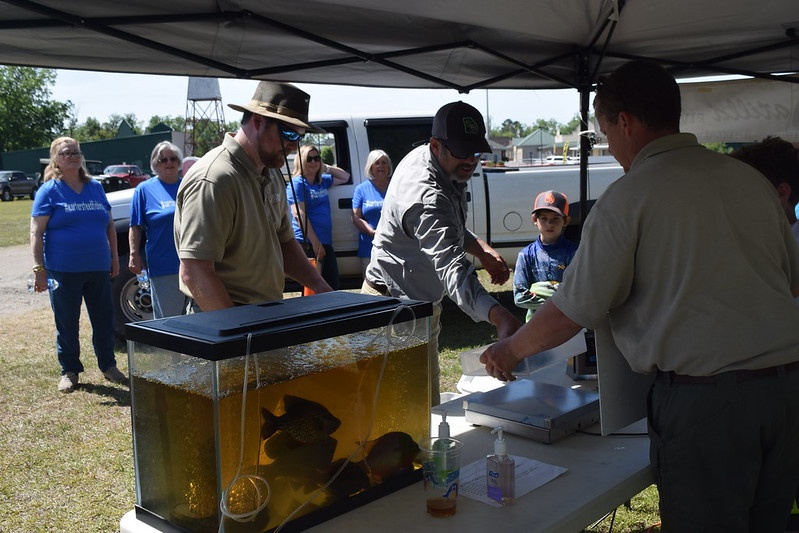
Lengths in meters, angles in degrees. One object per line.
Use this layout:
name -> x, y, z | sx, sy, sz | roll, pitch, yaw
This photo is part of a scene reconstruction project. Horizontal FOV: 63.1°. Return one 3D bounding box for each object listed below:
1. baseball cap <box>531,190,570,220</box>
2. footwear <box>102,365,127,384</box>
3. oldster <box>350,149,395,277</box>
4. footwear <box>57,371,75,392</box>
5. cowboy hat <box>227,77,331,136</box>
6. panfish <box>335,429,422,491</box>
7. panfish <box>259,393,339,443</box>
baseball cap -> 1.280, -0.505, 5.446 | 0.222, 0.180, 0.323 | 8, 6, 23
footwear -> -2.748, 1.039, 6.250 | 0.195, 0.089, 0.072 | 27, 40, 10
oldster -> -0.320, -0.593, 7.309 | 0.420, 1.338, 0.467 | 1, 18, -4
footwear -> -3.118, 1.089, 6.108 | 0.104, 0.098, 0.220 | 2, 1, -14
cowboy hat -> -0.653, -0.890, 3.570 | 0.534, 0.220, 0.544 | 17, 10, 16
panfish -> -0.082, 0.773, 2.656 | 0.282, 0.204, 0.392 | 2, 33, 1
panfish -> -0.356, 0.567, 2.397 | 0.313, 0.208, 0.069 | -4, 25, -4
